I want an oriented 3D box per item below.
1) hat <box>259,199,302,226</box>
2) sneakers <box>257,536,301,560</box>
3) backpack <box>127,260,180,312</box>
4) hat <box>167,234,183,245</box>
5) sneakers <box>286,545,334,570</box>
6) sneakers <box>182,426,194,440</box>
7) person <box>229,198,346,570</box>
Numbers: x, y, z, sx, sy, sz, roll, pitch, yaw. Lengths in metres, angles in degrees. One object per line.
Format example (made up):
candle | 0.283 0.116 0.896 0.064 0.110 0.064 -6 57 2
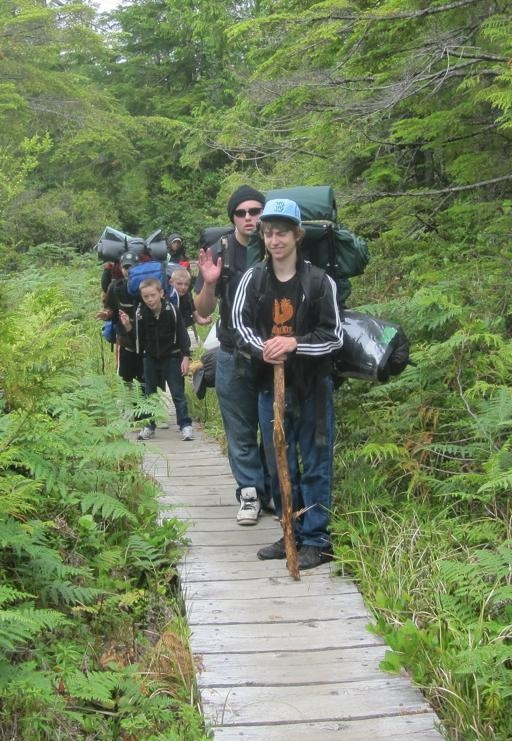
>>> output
hat | 0.131 -0.872 3.897 0.174 0.165 0.179 -1 9 42
sneakers | 0.156 1.042 4.151 0.292 0.119 0.096 3 4 -15
backpack | -1.036 -0.815 6.983 0.389 0.494 0.535 -1 3 2
hat | -1.301 -2.113 11.360 0.212 0.103 0.273 -1 5 4
sneakers | 0.324 1.054 3.994 0.087 0.105 0.256 -5 -6 36
sneakers | -0.713 0.650 7.324 0.124 0.138 0.334 -1 -4 -2
person | 0.226 0.078 4.036 0.613 2.068 0.472 -8 7 -7
